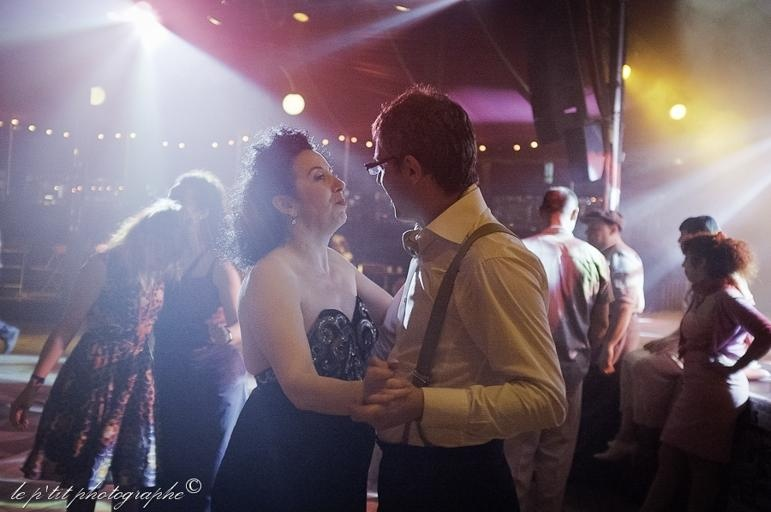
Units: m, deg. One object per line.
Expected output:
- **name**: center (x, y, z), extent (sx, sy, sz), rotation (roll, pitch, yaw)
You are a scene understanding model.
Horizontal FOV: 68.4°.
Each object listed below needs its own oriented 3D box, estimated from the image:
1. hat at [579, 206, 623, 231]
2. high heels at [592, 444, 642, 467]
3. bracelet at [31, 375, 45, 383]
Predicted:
- **hat**: center (2.209, -0.389, 5.772), extent (0.327, 0.132, 0.234), rotation (6, -1, 15)
- **high heels**: center (2.285, 1.964, 5.654), extent (0.470, 0.234, 0.152), rotation (-1, 1, 21)
- **bracelet**: center (-2.617, 0.941, 4.286), extent (0.072, 0.051, 0.074), rotation (10, -5, 28)
